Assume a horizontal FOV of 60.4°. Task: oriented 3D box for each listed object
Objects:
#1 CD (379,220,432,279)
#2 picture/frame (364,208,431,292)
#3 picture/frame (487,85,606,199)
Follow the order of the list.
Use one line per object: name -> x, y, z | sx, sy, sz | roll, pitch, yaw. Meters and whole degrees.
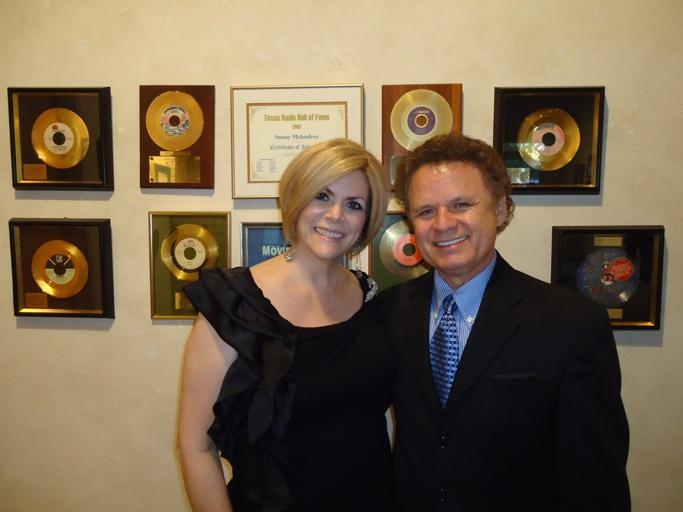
CD -> 0.309, -0.015, 3.009 | 0.266, 0.296, 0.006 | -27, 1, 5
picture/frame -> 0.284, -0.033, 2.894 | 0.299, 0.408, 0.039 | -13, 4, -3
picture/frame -> 1.051, -0.596, 2.999 | 0.546, 0.647, 0.060 | 1, 5, -4
